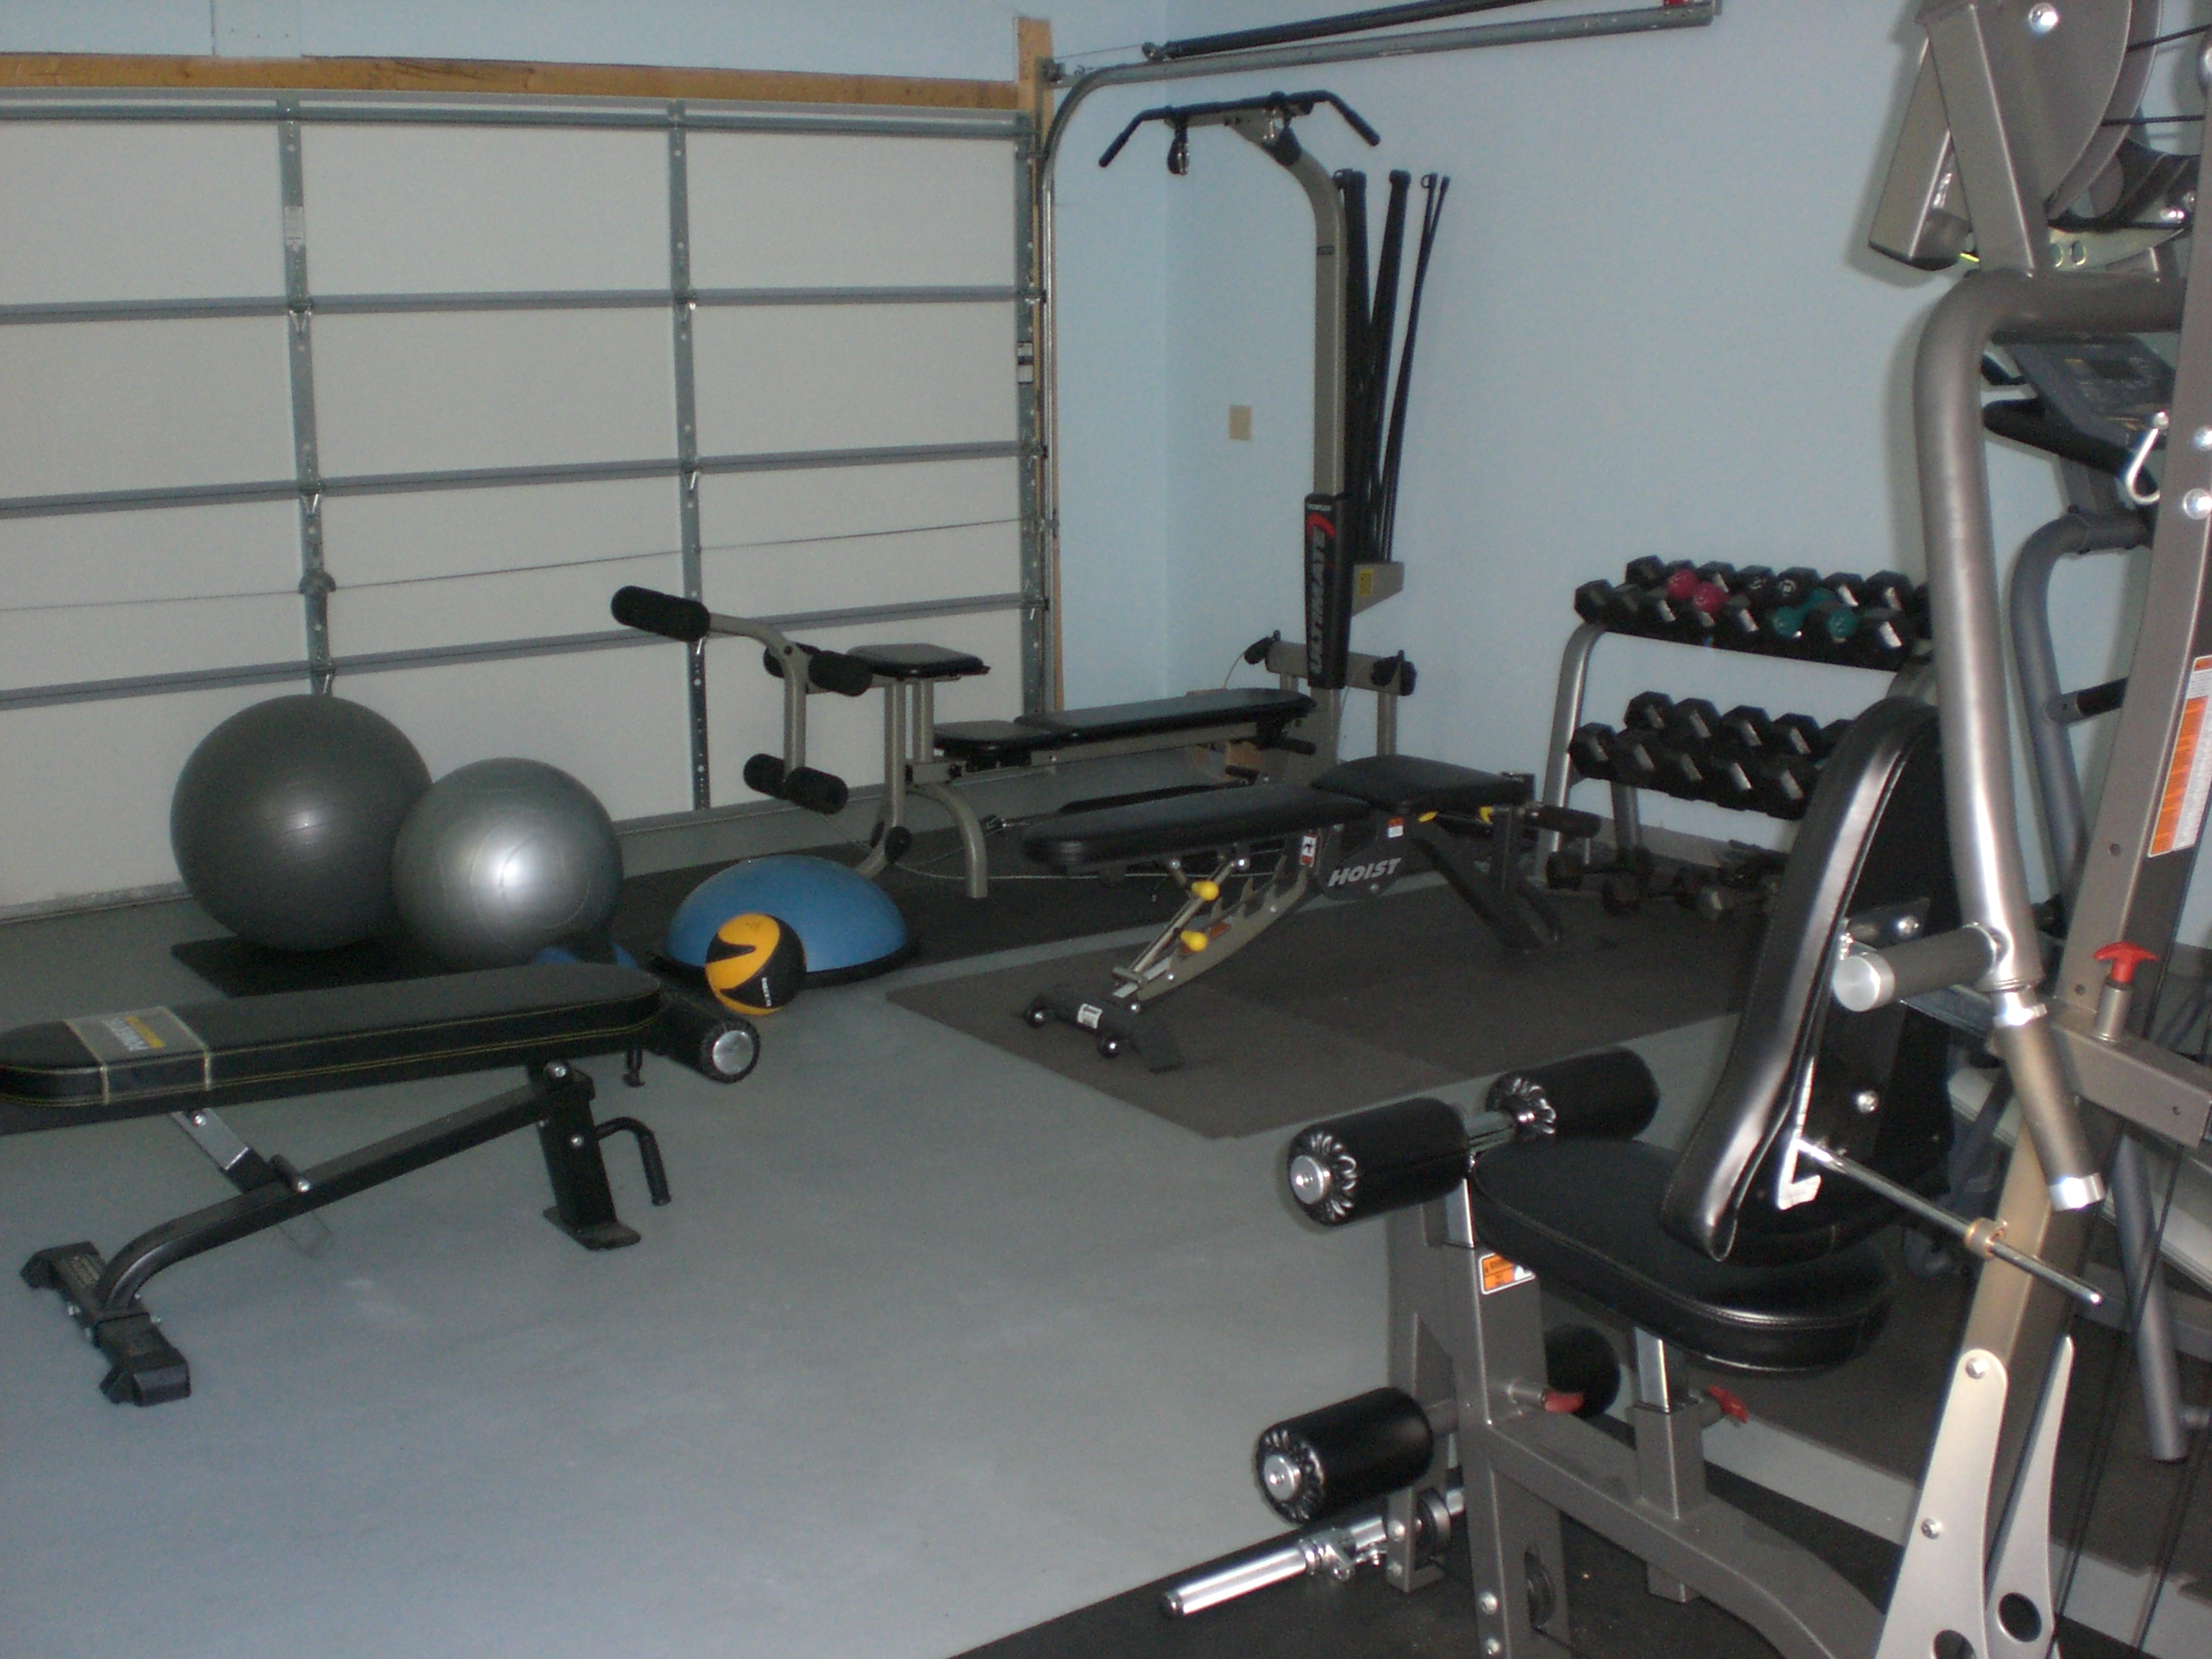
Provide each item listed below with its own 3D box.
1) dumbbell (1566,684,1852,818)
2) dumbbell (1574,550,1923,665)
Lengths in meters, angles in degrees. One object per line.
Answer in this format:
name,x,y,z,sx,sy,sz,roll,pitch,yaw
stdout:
dumbbell,1.617,-0.193,4.511,0.334,0.337,0.793,-10,13,-28
dumbbell,1.714,-0.588,4.478,0.248,0.268,0.985,-12,15,-36
